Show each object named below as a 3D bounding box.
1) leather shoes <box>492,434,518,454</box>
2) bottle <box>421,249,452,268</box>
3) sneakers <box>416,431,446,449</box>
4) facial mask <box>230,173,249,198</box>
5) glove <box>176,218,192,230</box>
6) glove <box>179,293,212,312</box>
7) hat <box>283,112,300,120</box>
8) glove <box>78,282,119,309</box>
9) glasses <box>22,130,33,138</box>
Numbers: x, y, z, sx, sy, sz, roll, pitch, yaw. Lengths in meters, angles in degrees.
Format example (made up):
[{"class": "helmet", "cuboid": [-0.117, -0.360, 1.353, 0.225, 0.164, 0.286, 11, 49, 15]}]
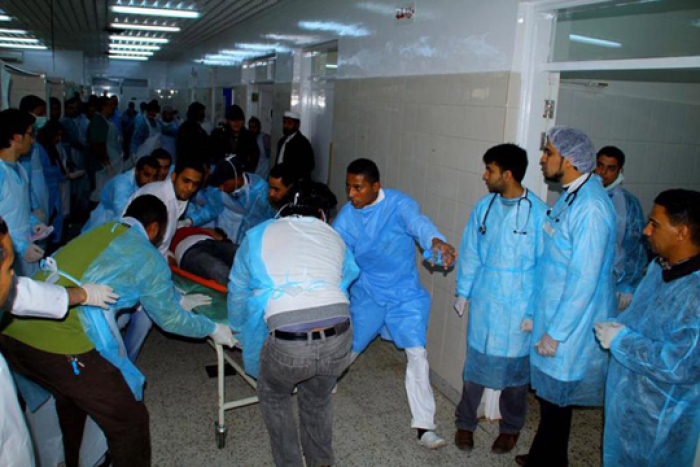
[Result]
[{"class": "leather shoes", "cuboid": [1.136, 1.514, 3.335, 0.213, 0.086, 0.099, -21, 36, -36]}, {"class": "bottle", "cuboid": [0.594, 0.167, 3.189, 0.138, 0.077, 0.211, 3, -3, 2]}, {"class": "sneakers", "cuboid": [0.586, 1.502, 3.322, 0.108, 0.083, 0.184, -10, 9, -43]}, {"class": "facial mask", "cuboid": [-1.080, -0.467, 4.477, 0.229, 0.241, 0.163, 6, 13, 6]}, {"class": "glove", "cuboid": [-1.552, -0.092, 4.262, 0.142, 0.085, 0.117, -3, 6, -21]}, {"class": "glove", "cuboid": [-1.096, 0.491, 3.213, 0.172, 0.052, 0.119, -1, 39, -35]}, {"class": "hat", "cuboid": [-0.807, -1.627, 6.250, 0.137, 0.042, 0.142, 19, 9, 26]}, {"class": "glove", "cuboid": [-1.377, 0.348, 2.518, 0.171, 0.155, 0.097, -10, 19, -33]}, {"class": "glasses", "cuboid": [-2.668, -0.826, 3.766, 0.080, 0.028, 0.082, 0, -4, -45]}]
